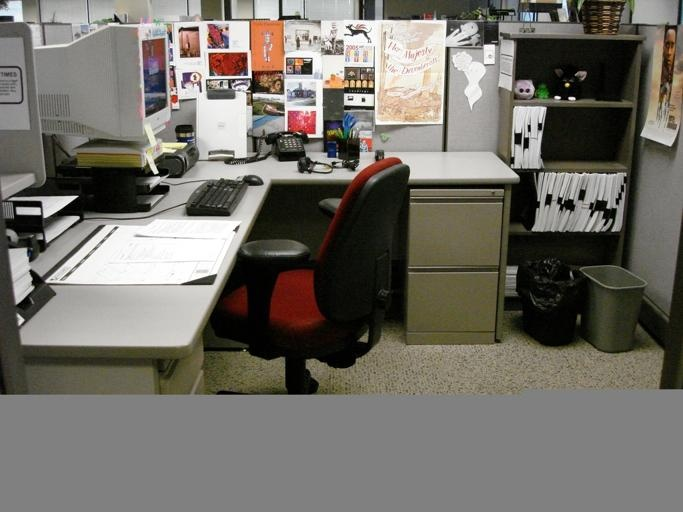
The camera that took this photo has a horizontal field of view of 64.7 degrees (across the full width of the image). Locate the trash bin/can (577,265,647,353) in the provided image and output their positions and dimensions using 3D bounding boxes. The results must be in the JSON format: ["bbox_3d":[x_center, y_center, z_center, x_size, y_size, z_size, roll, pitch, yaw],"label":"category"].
[{"bbox_3d":[1.218,0.246,2.437,0.216,0.337,0.298,-4,16,-9],"label":"trash bin/can"}]

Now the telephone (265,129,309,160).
[{"bbox_3d":[-0.260,-0.516,2.595,0.178,0.086,0.164,-2,20,-9],"label":"telephone"}]

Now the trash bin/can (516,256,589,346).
[{"bbox_3d":[0.914,0.207,2.573,0.340,0.408,0.354,-2,17,-3],"label":"trash bin/can"}]

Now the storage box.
[{"bbox_3d":[1.224,0.249,2.438,0.231,0.343,0.301,-5,16,-9],"label":"storage box"}]

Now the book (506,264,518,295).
[{"bbox_3d":[0.879,0.129,2.774,0.064,0.127,0.138,-1,20,6],"label":"book"}]

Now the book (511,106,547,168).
[{"bbox_3d":[0.875,-0.566,2.558,0.087,0.260,0.192,0,-4,4],"label":"book"}]

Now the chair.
[{"bbox_3d":[0.096,-0.089,2.695,1.380,0.815,0.791,3,27,12],"label":"chair"}]

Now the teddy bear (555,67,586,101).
[{"bbox_3d":[1.111,-0.834,2.641,0.144,0.149,0.105,11,20,23],"label":"teddy bear"}]

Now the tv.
[{"bbox_3d":[-0.806,-0.594,1.866,0.331,0.385,0.408,-2,19,-3],"label":"tv"}]

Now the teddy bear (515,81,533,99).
[{"bbox_3d":[0.876,-0.792,2.582,0.082,0.071,0.095,-1,23,11],"label":"teddy bear"}]

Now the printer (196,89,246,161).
[{"bbox_3d":[-0.563,-0.613,2.571,0.232,0.315,0.102,0,3,-2],"label":"printer"}]

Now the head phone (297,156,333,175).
[{"bbox_3d":[-0.113,-0.388,2.374,0.133,0.047,0.098,8,31,9],"label":"head phone"}]
